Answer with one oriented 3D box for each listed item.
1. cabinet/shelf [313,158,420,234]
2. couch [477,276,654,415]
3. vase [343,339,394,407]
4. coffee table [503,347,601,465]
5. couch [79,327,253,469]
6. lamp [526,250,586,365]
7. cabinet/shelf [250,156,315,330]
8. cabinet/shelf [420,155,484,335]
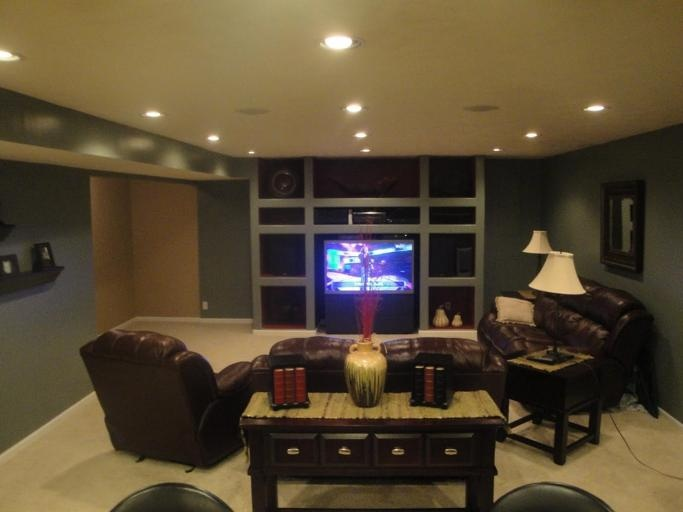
[{"bbox_3d":[0.377,-1.170,8.075,1.509,0.600,0.278,-2,2,0],"label":"cabinet/shelf"},{"bbox_3d":[2.396,0.930,6.301,1.198,1.169,2.394,-2,5,-2],"label":"couch"},{"bbox_3d":[0.167,0.812,3.954,0.374,0.525,0.399,1,7,4],"label":"vase"},{"bbox_3d":[1.924,1.289,4.922,0.726,0.786,0.742,5,11,40],"label":"coffee table"},{"bbox_3d":[-1.371,1.026,4.762,1.218,1.322,1.181,0,2,24],"label":"couch"},{"bbox_3d":[1.907,0.465,4.855,0.491,1.019,0.445,5,14,23],"label":"lamp"},{"bbox_3d":[-0.878,-0.194,8.093,0.901,2.507,0.700,-2,2,-9],"label":"cabinet/shelf"},{"bbox_3d":[1.575,-0.070,7.979,0.839,2.470,0.261,0,15,10],"label":"cabinet/shelf"}]
